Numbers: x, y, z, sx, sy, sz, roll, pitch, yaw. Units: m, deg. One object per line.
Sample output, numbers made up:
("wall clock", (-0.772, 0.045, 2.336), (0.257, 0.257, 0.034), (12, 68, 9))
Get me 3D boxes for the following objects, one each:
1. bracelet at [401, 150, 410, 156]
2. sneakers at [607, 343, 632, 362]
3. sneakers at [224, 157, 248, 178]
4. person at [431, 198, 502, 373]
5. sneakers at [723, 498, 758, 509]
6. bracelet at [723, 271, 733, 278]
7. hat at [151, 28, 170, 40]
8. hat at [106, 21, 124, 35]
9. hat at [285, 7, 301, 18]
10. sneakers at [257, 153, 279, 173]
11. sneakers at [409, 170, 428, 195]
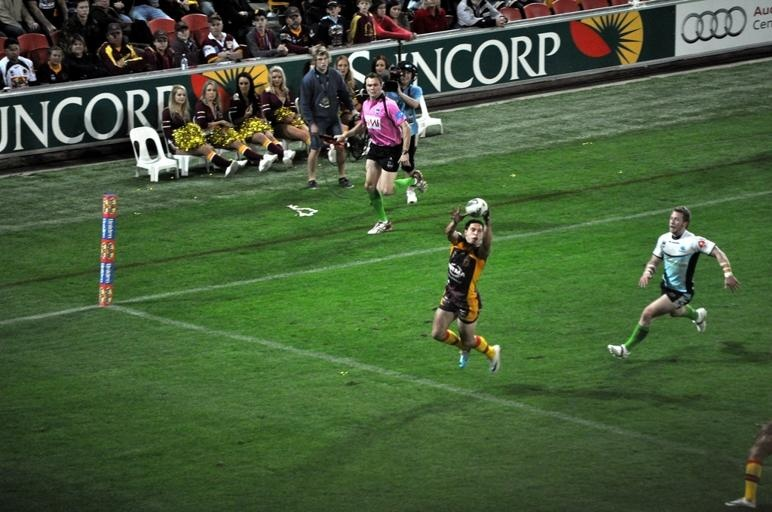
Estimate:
("bracelet", (0.334, -1.758, 17.412), (0.115, 0.050, 0.106), (0, 0, -39))
("sneakers", (3.144, 1.286, 13.812), (0.391, 0.135, 0.166), (19, 7, -10))
("sneakers", (-3.096, -1.825, 21.128), (0.637, 0.218, 0.241), (-30, -17, 26))
("person", (1.002, 0.487, 13.337), (0.928, 2.242, 0.473), (-7, 11, 6))
("sneakers", (3.867, 2.699, 11.250), (0.420, 0.091, 0.112), (3, 3, 16))
("bracelet", (4.480, 0.242, 13.459), (0.150, 0.048, 0.142), (-1, -1, 10))
("hat", (-4.868, -4.790, 22.327), (0.370, 0.141, 0.381), (-3, 3, -17))
("hat", (-5.786, -4.788, 21.924), (0.301, 0.435, 0.442), (-10, 10, -13))
("hat", (-2.100, -5.582, 23.457), (0.389, 0.145, 0.391), (0, 1, -7))
("sneakers", (-2.450, -1.937, 21.361), (0.592, 0.235, 0.245), (-34, -8, 37))
("sneakers", (0.585, -1.384, 19.139), (0.254, 0.527, 0.255), (-33, 28, 9))
